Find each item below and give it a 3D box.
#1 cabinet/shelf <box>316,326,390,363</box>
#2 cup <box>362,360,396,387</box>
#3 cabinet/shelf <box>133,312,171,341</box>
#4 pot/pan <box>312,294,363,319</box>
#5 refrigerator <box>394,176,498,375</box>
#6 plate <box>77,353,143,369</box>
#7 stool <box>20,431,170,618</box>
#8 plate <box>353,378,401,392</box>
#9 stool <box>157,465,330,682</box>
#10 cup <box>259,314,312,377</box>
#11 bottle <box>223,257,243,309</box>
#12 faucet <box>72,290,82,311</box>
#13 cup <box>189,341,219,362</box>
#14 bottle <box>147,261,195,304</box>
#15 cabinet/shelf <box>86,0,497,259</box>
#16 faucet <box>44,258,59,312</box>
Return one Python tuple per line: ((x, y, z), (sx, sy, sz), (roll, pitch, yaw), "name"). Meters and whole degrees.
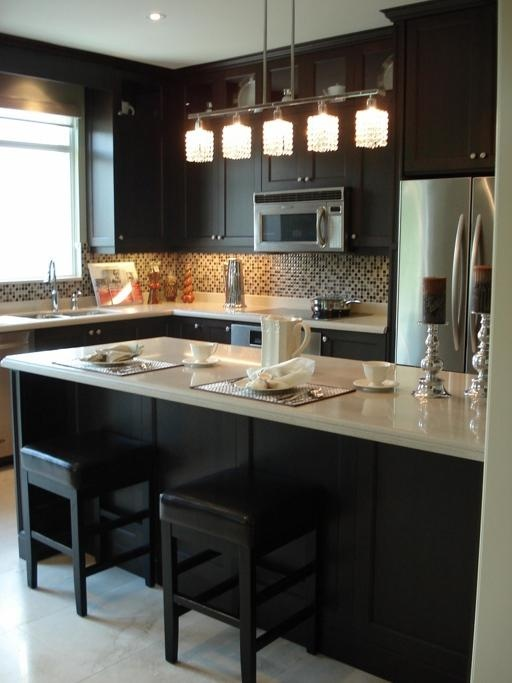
((0.640, 0.023, 3.729), (0.492, 0.194, 0.080), (2, 4, 40), "cabinet/shelf")
((0.392, 0.120, 1.810), (0.097, 0.081, 0.087), (-1, -5, 17), "cup")
((-0.841, -0.123, 4.569), (0.094, 0.175, 0.356), (1, 4, 31), "cabinet/shelf")
((0.540, -0.244, 4.076), (0.257, 0.111, 0.215), (7, 12, 34), "pot/pan")
((1.072, -0.390, 3.231), (0.508, 1.125, 0.246), (0, 3, 17), "refrigerator")
((-0.579, 0.071, 2.209), (0.217, 0.058, 0.173), (-2, 4, -21), "plate")
((-0.672, 0.681, 2.204), (0.553, 0.610, 0.398), (2, 4, 42), "stool")
((0.387, 0.142, 1.820), (0.143, 0.026, 0.165), (0, 4, 12), "plate")
((-0.042, 0.702, 1.702), (0.395, 0.564, 0.383), (2, 4, 42), "stool")
((0.102, 0.003, 1.988), (0.162, 0.170, 0.323), (-1, 3, 2), "cup")
((-0.182, -0.489, 4.758), (0.160, 0.424, 0.226), (-1, 3, -3), "bottle")
((-1.540, -0.361, 4.800), (0.087, 0.175, 0.239), (-2, 3, -19), "faucet")
((-0.222, 0.044, 2.261), (0.081, 0.073, 0.074), (1, -2, 0), "cup")
((-0.820, -0.558, 5.346), (0.313, 0.351, 0.182), (8, 13, 26), "bottle")
((0.180, -1.425, 4.067), (2.946, 1.690, 0.642), (2, 4, 35), "cabinet/shelf")
((-1.677, -0.458, 4.626), (0.088, 0.420, 0.340), (-2, 3, -21), "faucet")
